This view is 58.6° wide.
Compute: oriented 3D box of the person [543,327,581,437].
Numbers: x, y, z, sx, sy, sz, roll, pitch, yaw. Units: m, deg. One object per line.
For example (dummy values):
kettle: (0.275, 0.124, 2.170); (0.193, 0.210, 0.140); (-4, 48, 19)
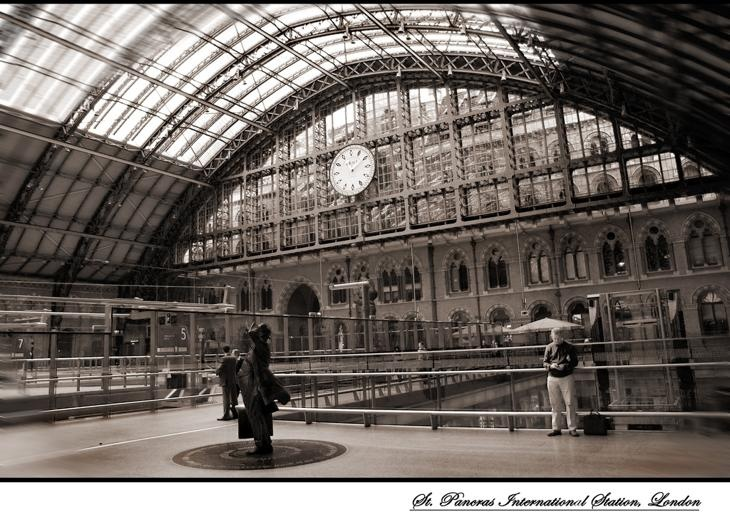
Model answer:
person: (3.910, 2.480, 12.954); (0.680, 2.061, 1.059); (-5, -13, 16)

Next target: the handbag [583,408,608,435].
handbag: (4.371, 3.162, 12.371); (0.552, 0.512, 0.194); (-2, -2, 24)

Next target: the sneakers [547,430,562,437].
sneakers: (3.632, 3.400, 12.483); (0.321, 0.128, 0.102); (9, -18, -8)

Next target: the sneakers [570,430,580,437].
sneakers: (4.025, 3.374, 12.424); (0.211, 0.102, 0.169); (1, -12, -11)

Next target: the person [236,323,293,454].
person: (-1.920, 2.461, 12.114); (0.732, 2.342, 0.871); (8, -15, -35)
